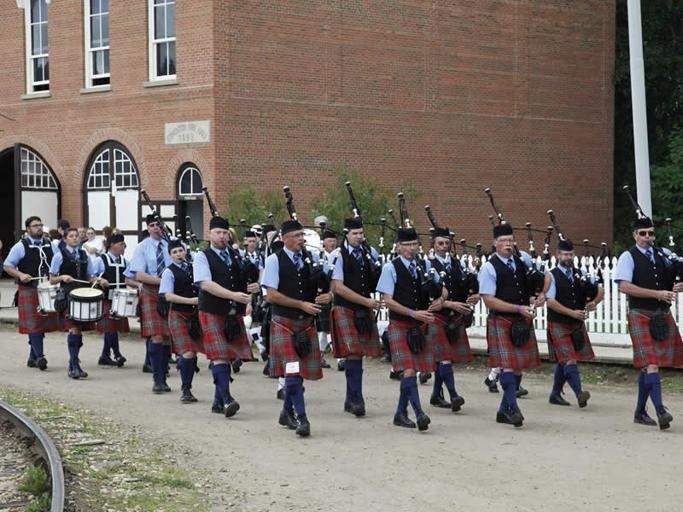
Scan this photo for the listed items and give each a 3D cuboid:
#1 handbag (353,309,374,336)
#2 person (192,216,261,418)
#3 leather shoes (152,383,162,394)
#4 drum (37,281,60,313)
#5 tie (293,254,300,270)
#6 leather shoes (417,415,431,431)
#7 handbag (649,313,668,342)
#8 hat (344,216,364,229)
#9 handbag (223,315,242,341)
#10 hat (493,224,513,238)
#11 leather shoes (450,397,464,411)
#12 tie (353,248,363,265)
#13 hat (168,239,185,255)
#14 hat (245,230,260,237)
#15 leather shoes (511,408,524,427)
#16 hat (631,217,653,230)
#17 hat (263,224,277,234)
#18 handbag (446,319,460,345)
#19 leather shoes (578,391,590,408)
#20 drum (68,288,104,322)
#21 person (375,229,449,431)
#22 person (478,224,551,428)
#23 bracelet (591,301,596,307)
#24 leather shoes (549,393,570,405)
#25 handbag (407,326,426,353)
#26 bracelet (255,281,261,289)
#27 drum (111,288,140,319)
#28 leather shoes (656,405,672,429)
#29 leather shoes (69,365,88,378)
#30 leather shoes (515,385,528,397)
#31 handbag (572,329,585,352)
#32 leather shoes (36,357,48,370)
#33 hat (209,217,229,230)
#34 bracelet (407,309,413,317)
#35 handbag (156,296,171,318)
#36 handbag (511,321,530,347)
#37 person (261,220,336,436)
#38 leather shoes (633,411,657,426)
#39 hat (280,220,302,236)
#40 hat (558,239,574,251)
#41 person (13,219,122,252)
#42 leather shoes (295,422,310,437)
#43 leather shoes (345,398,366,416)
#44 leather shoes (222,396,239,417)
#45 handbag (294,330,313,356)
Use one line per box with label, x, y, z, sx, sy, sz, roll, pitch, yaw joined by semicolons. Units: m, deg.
handbag;0.269;0.846;14.314;0.269;0.301;0.127;-2;-8;-28
person;-1.545;0.771;14.385;0.804;2.555;0.865;-1;8;-7
leather shoes;-2.654;1.874;15.663;0.093;0.094;0.149;1;4;-16
drum;-4.665;0.631;17.343;0.484;0.411;0.450;-2;14;-20
tie;-0.579;0.065;13.819;0.107;0.158;0.041;-10;-15;-34
leather shoes;1.000;2.040;13.511;0.106;0.122;0.263;-3;-24;-10
handbag;4.006;0.888;13.891;0.280;0.316;0.132;0;-12;0
hat;0.122;-0.423;14.233;0.147;0.109;0.192;-1;0;-23
handbag;-1.448;0.914;14.373;0.288;0.288;0.114;-2;-6;-15
hat;2.101;-0.330;14.250;0.216;0.123;0.208;1;5;27
leather shoes;1.527;1.942;14.645;0.150;0.249;0.378;1;7;6
tie;0.173;0.003;14.331;0.128;0.182;0.097;-11;-33;-13
hat;-2.339;-0.143;15.431;0.189;0.163;0.218;-5;-27;-17
hat;-1.497;-0.370;17.941;0.194;0.081;0.131;0;0;6
leather shoes;2.203;2.002;13.788;0.146;0.250;0.276;1;8;8
hat;3.870;-0.422;14.148;0.208;0.109;0.193;-1;-2;4
hat;-1.260;-0.482;18.961;0.249;0.165;0.203;-3;3;-2
handbag;1.507;1.017;15.018;0.222;0.272;0.107;-10;-4;-20
leather shoes;3.225;1.897;14.695;0.122;0.129;0.293;0;-41;-9
drum;-3.992;0.773;16.949;0.546;0.508;0.556;0;8;4
person;0.907;0.884;13.846;0.709;2.456;0.921;-4;9;-27
person;2.161;0.836;14.141;0.839;2.496;1.135;1;8;9
bracelet;3.431;0.642;15.013;0.050;0.054;0.066;2;-6;-41
leather shoes;2.994;1.966;15.164;0.263;0.097;0.111;0;1;21
handbag;0.920;1.039;13.853;0.249;0.286;0.111;-4;-10;-3
bracelet;-1.146;0.375;14.734;0.107;0.107;0.128;-1;-13;-4
drum;-3.369;0.700;16.847;0.492;0.386;0.456;0;-3;0
leather shoes;4.029;2.024;13.708;0.142;0.165;0.360;-5;-17;0
leather shoes;-4.075;1.745;16.822;0.290;0.164;0.307;-2;8;-13
leather shoes;2.549;1.902;15.659;0.140;0.152;0.390;1;4;14
handbag;3.210;1.142;14.957;0.159;0.316;0.122;-7;10;-38
leather shoes;-4.774;1.676;17.354;0.107;0.106;0.269;-27;-19;-22
hat;-1.643;-0.431;14.511;0.210;0.126;0.204;3;-2;30
bracelet;0.842;0.705;13.737;0.077;0.068;0.078;-1;13;3
handbag;-2.596;0.737;15.880;0.205;0.334;0.254;-3;-22;-8
handbag;2.291;0.990;14.103;0.278;0.348;0.155;0;8;1
person;-0.538;0.848;13.765;0.781;2.567;0.972;-4;9;-26
leather shoes;3.851;2.050;13.965;0.259;0.097;0.128;-1;-3;24
hat;-0.672;-0.359;13.871;0.252;0.141;0.174;-7;-1;23
hat;3.117;-0.143;15.317;0.162;0.121;0.202;0;-1;-5
person;-5.354;-0.411;21.639;2.063;0.553;0.636;2;13;7
leather shoes;-0.492;2.082;13.464;0.191;0.195;0.264;0;7;-1
leather shoes;0.158;1.990;14.490;0.136;0.133;0.340;2;-7;-23
leather shoes;-1.433;1.946;14.160;0.152;0.273;0.197;-12;44;-44
handbag;-0.498;1.093;13.756;0.253;0.338;0.155;-4;9;-23
